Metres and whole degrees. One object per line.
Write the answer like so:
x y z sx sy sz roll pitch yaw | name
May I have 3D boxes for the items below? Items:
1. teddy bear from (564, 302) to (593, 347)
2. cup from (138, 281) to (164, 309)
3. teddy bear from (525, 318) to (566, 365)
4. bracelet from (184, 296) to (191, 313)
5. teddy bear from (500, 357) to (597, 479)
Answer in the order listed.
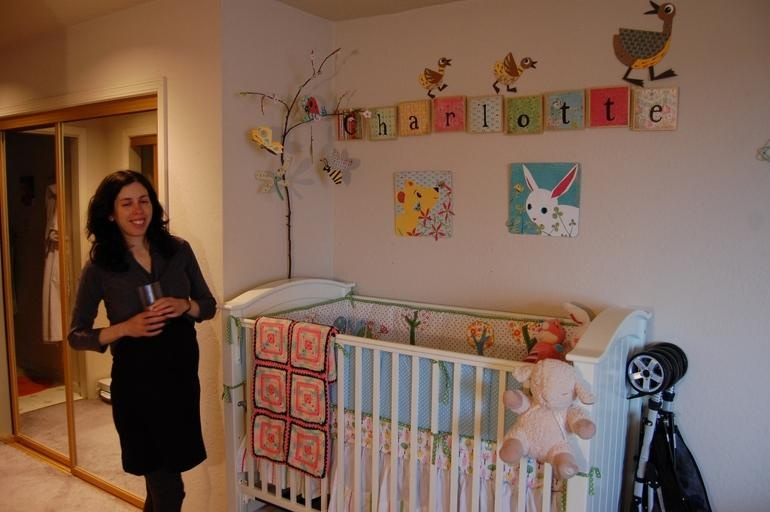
1.068 0.390 3.127 0.147 0.262 0.096 -12 9 16 | teddy bear
-1.147 0.193 2.777 0.110 0.127 0.113 -3 1 0 | cup
0.863 0.459 3.029 0.105 0.197 0.149 33 -21 -11 | teddy bear
-1.030 0.256 2.962 0.026 0.059 0.042 -2 8 -19 | bracelet
0.725 0.720 2.562 0.408 0.457 0.346 11 11 28 | teddy bear
